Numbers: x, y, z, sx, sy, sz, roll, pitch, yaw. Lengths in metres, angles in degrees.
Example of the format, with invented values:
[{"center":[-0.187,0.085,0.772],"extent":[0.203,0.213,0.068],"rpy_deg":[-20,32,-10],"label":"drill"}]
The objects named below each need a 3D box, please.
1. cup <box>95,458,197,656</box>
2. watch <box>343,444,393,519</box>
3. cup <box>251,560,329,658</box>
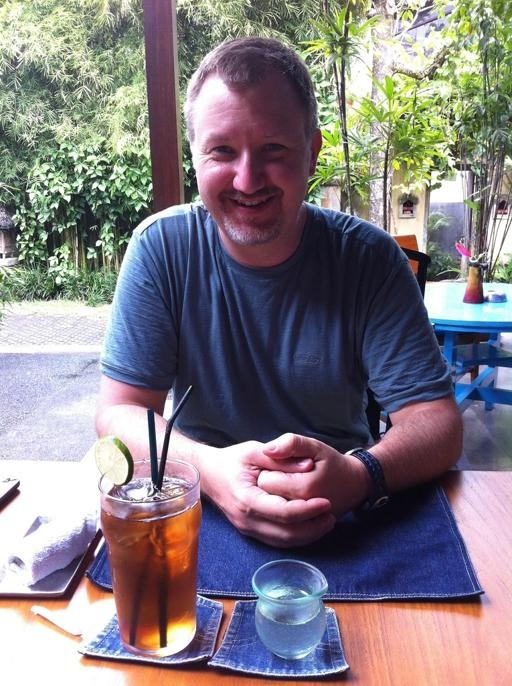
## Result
[{"center":[-0.102,0.220,0.578],"extent":[0.098,0.164,0.107],"rpy_deg":[-2,4,0],"label":"cup"},{"center":[0.172,0.227,0.905],"extent":[0.050,0.076,0.083],"rpy_deg":[-8,28,-16],"label":"watch"},{"center":[0.034,0.262,0.583],"extent":[0.073,0.080,0.109],"rpy_deg":[2,12,6],"label":"cup"}]
